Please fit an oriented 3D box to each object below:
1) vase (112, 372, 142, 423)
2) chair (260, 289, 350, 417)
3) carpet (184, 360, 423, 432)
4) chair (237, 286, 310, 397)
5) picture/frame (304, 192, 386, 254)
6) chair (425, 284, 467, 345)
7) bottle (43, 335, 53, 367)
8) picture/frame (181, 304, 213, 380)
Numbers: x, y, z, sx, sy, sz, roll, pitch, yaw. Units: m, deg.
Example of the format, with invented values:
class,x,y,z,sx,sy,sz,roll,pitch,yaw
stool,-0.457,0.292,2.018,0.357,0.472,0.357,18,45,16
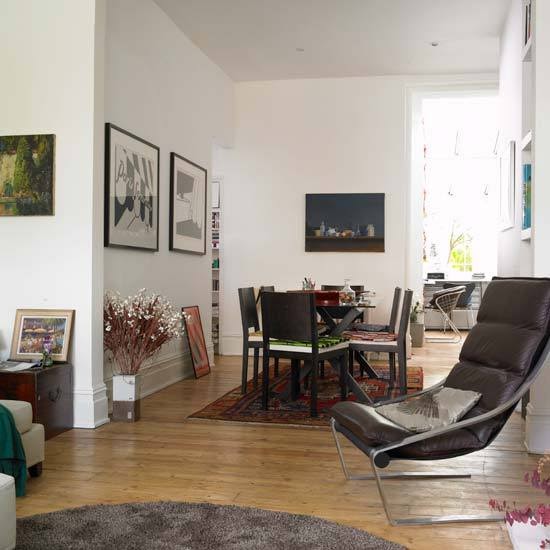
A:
class,x,y,z,sx,sy,sz,roll,pitch,yaw
vase,-1.125,0.924,3.588,0.250,0.339,0.264,12,-8,-23
chair,0.235,0.570,3.946,0.499,1.028,0.604,1,8,26
carpet,0.543,1.143,4.846,1.853,0.057,3.064,-2,-2,18
chair,-0.026,0.590,4.966,0.705,1.612,0.735,0,3,14
picture/frame,0.980,-0.743,6.762,1.081,0.817,0.114,0,-1,2
chair,3.079,0.675,8.707,0.621,1.134,0.791,5,7,20
bottle,-1.560,0.524,3.265,0.064,0.185,0.231,1,-2,-27
picture/frame,-0.917,0.784,5.484,0.028,0.958,0.743,-13,1,7
